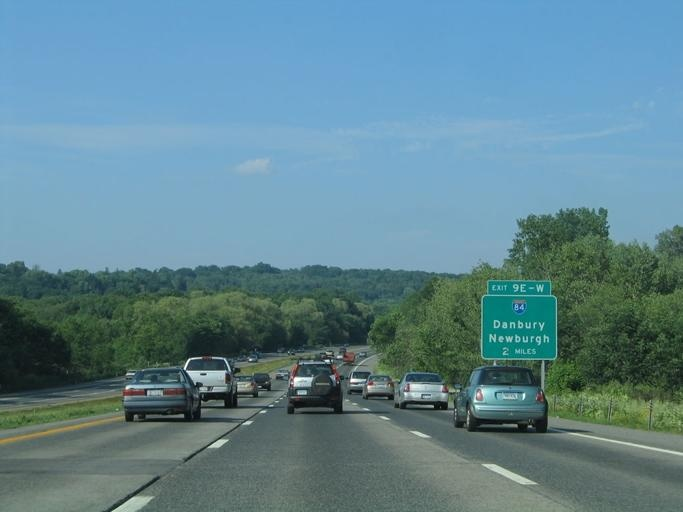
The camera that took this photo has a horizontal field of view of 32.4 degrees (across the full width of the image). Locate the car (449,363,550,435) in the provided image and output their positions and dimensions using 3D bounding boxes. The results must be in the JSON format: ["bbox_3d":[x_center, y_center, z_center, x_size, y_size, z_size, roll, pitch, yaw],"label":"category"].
[{"bbox_3d":[6.002,5.438,44.768,2.854,2.519,5.318,1,-6,-5],"label":"car"}]

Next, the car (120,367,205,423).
[{"bbox_3d":[-6.904,5.349,45.420,2.875,2.097,1.548,1,-7,-13],"label":"car"}]

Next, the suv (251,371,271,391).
[{"bbox_3d":[-5.852,9.603,89.698,0.920,0.836,2.237,1,4,0],"label":"suv"}]

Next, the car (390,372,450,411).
[{"bbox_3d":[3.955,6.730,57.636,2.188,1.989,5.580,1,-7,-2],"label":"car"}]

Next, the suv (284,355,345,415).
[{"bbox_3d":[-1.157,6.155,52.572,2.368,2.897,5.149,0,-13,-1],"label":"suv"}]

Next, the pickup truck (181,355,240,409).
[{"bbox_3d":[-6.439,6.258,57.194,2.305,2.542,5.412,-1,-6,-4],"label":"pickup truck"}]
